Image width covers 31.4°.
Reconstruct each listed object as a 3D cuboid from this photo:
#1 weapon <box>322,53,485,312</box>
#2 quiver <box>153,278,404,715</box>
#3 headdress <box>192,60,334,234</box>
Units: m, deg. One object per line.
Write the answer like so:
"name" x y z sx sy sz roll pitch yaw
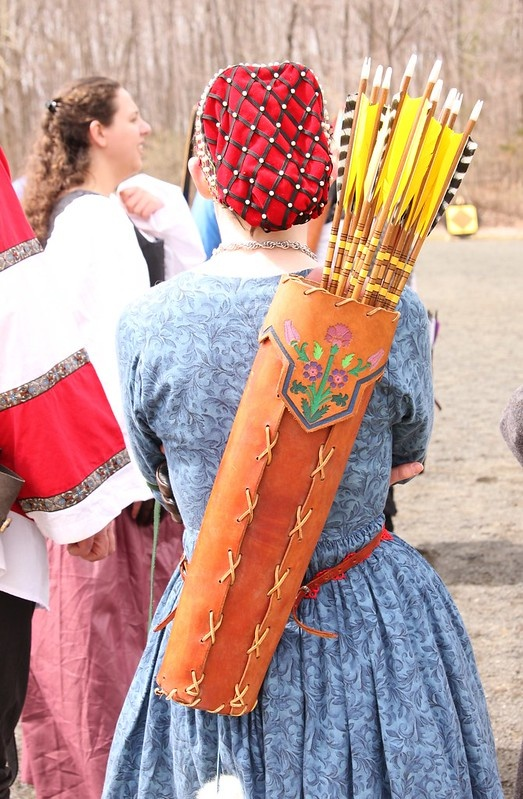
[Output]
"weapon" 0.189 -0.297 1.269 0.184 0.322 0.218 8 39 1
"quiver" 0.013 0.159 1.332 0.198 0.590 0.153 15 -2 -18
"headdress" 0.005 -0.368 1.350 0.183 0.196 0.176 1 39 -8
